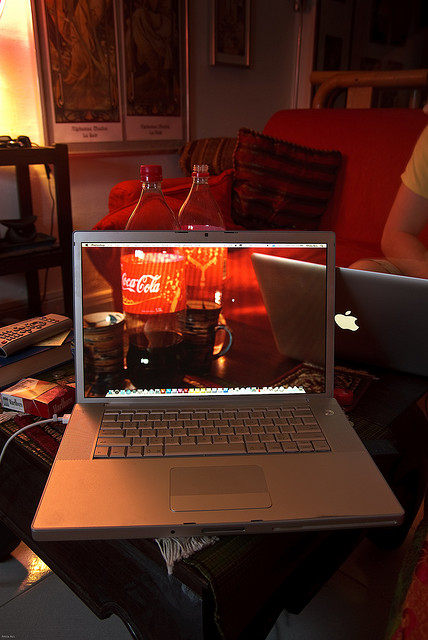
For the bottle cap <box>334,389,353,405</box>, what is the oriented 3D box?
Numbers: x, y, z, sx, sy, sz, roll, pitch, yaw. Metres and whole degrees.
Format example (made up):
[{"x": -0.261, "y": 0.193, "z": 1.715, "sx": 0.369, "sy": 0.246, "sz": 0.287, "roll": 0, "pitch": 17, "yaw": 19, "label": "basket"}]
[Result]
[{"x": 0.206, "y": 0.122, "z": 0.726, "sx": 0.023, "sy": 0.006, "sz": 0.024, "roll": -4, "pitch": 20, "yaw": -6, "label": "bottle cap"}]

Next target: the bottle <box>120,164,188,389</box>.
[{"x": -0.095, "y": -0.061, "z": 0.722, "sx": 0.107, "sy": 0.363, "sz": 0.106, "roll": 0, "pitch": 17, "yaw": 0, "label": "bottle"}]

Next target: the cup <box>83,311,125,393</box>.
[{"x": -0.167, "y": 0.053, "z": 0.690, "sx": 0.069, "sy": 0.107, "sz": 0.069, "roll": -3, "pitch": 6, "yaw": 0, "label": "cup"}]

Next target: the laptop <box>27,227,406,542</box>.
[{"x": 0.001, "y": 0.043, "z": 0.575, "sx": 0.395, "sy": 0.233, "sz": 0.376, "roll": 1, "pitch": 20, "yaw": -3, "label": "laptop"}]
